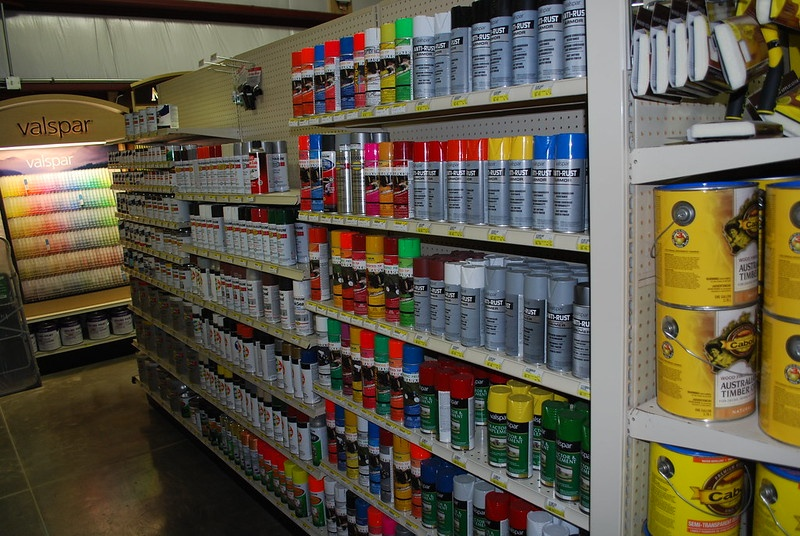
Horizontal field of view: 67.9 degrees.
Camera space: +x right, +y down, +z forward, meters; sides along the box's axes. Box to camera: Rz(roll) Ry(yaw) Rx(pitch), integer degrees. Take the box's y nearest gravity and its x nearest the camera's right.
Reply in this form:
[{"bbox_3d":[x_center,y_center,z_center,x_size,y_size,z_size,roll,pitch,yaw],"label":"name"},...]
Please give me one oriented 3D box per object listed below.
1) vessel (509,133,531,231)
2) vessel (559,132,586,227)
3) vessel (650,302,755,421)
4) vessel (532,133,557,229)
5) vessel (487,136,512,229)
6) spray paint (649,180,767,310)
[{"bbox_3d":[0.508,-0.358,2.497,0.096,0.373,0.088,2,14,10],"label":"vessel"},{"bbox_3d":[0.686,-0.340,2.383,0.125,0.385,0.085,2,14,14],"label":"vessel"},{"bbox_3d":[1.197,0.336,2.342,0.396,0.414,0.391,-2,4,-8],"label":"vessel"},{"bbox_3d":[0.590,-0.346,2.432,0.090,0.375,0.075,2,14,10],"label":"vessel"},{"bbox_3d":[0.423,-0.368,2.551,0.100,0.371,0.075,3,14,17],"label":"vessel"},{"bbox_3d":[1.109,-0.099,2.200,0.406,0.448,0.441,-4,5,-24],"label":"spray paint"}]
